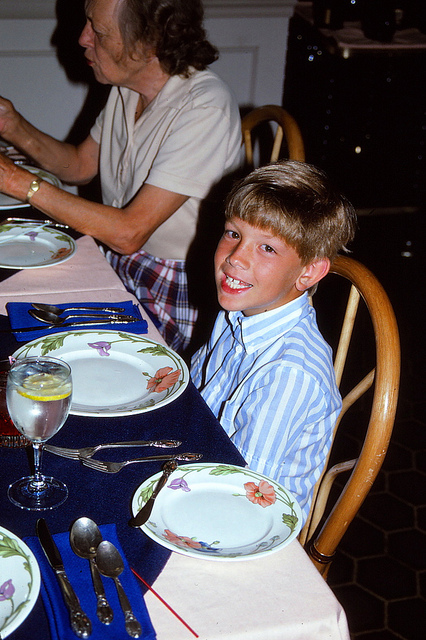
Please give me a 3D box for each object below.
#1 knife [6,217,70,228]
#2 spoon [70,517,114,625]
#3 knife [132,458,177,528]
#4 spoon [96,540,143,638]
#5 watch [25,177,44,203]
[{"bbox_3d":[-0.422,-0.235,1.395,0.150,0.038,0.014,-3,36,-4],"label":"knife"},{"bbox_3d":[-0.101,0.215,0.508,0.024,0.012,0.114,0,25,-17],"label":"spoon"},{"bbox_3d":[-0.059,0.178,0.609,0.016,0.008,0.116,32,26,2],"label":"knife"},{"bbox_3d":[-0.076,0.217,0.493,0.021,0.012,0.106,-2,27,-17],"label":"spoon"},{"bbox_3d":[-0.408,-0.297,1.318,0.024,0.042,0.044,28,-6,3],"label":"watch"}]
